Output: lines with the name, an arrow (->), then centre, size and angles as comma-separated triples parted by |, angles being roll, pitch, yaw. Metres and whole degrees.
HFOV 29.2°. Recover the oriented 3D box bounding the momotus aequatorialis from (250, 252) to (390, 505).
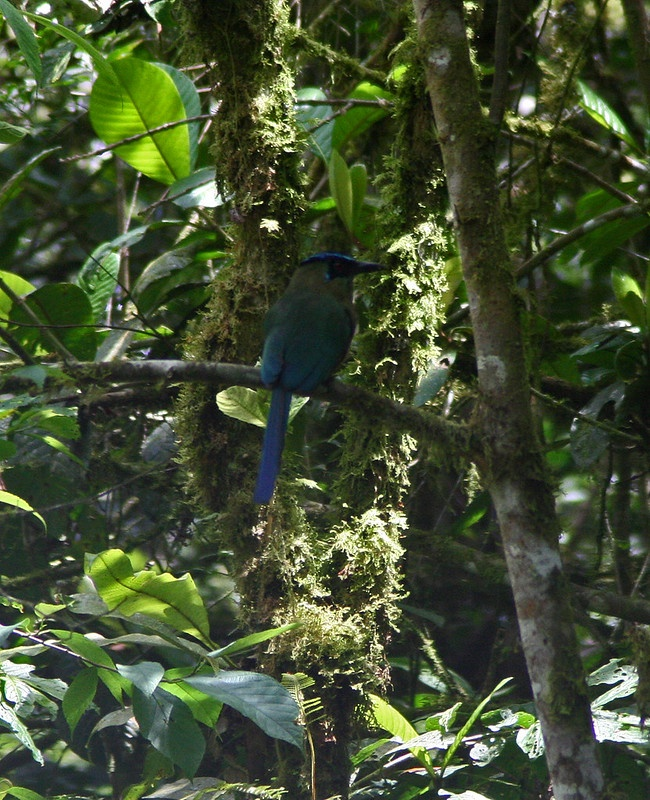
momotus aequatorialis -> -0.109, -0.152, 4.881 | 0.348, 1.187, 0.402 | 20, -35, -1
